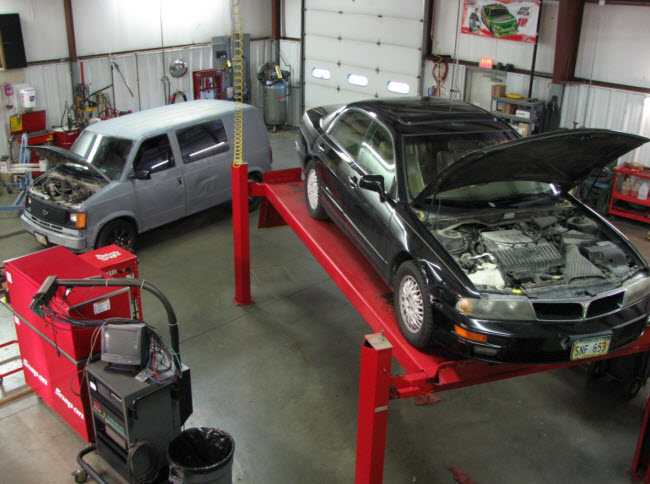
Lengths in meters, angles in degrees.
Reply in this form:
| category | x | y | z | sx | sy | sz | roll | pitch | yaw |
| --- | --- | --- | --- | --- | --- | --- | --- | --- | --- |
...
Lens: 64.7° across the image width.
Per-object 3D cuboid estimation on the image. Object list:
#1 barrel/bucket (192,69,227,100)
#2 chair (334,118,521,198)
| category | x | y | z | sx | sy | sz | roll | pitch | yaw |
| --- | --- | --- | --- | --- | --- | --- | --- | --- | --- |
| barrel/bucket | -2.956 | -4.035 | 13.211 | 0.794 | 0.738 | 0.313 | -9 | 22 | -22 |
| chair | 0.945 | -0.970 | 5.262 | 0.840 | 0.579 | 1.782 | -10 | 35 | -29 |
